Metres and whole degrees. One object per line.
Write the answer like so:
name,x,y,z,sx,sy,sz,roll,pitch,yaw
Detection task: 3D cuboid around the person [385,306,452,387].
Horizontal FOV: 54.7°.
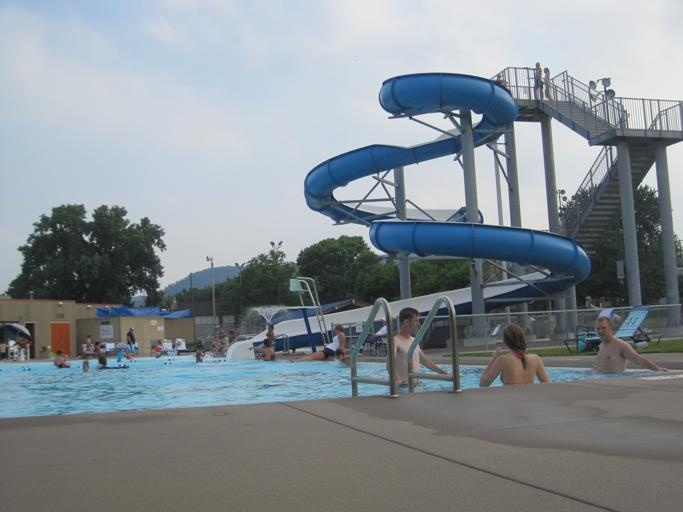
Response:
person,0.998,1.266,9.107,0.498,1.116,1.520,-3,-6,4

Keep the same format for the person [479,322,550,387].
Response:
person,2.089,1.189,7.956,0.974,0.717,0.550,0,-7,-28

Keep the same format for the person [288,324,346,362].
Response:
person,-0.447,2.564,19.183,0.878,1.034,3.017,0,-7,-23

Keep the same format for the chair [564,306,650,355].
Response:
chair,6.511,1.826,16.070,1.661,0.738,1.547,-5,-8,-37

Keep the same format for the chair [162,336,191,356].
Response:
chair,-10.198,5.641,40.283,2.060,1.262,1.107,-3,-1,1

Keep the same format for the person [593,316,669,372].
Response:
person,4.023,1.293,9.524,0.668,0.816,1.038,-5,-6,17
